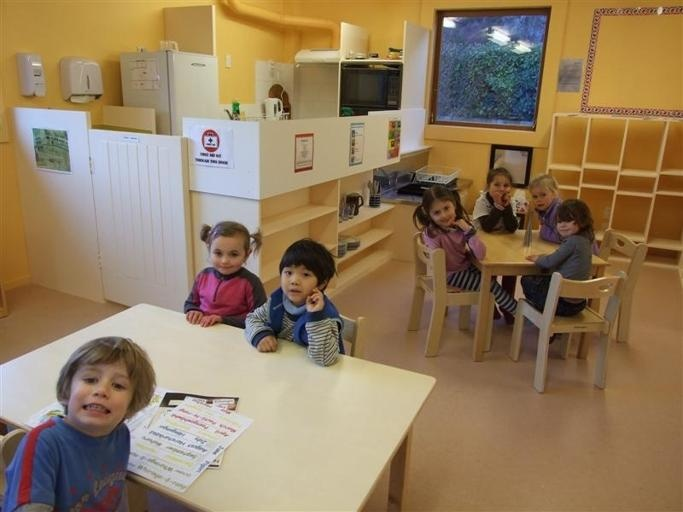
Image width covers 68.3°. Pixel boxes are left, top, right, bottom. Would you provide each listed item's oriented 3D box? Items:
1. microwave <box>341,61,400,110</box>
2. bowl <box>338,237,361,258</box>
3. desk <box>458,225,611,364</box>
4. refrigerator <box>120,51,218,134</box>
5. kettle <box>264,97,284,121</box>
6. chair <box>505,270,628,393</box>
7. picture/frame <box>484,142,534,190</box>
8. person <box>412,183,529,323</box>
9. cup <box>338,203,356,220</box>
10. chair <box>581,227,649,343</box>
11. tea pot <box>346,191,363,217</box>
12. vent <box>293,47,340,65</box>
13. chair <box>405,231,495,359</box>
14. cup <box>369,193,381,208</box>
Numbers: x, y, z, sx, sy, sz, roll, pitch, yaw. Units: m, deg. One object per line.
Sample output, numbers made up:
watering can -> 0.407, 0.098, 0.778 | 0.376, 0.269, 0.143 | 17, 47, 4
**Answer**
microwave -> 0.355, -1.931, 5.725 | 0.552, 0.578, 0.318 | 4, 7, 19
bowl -> 0.069, -0.084, 4.572 | 0.158, 0.068, 0.180 | -5, 9, -15
desk -> 1.509, 0.257, 3.641 | 0.739, 0.658, 0.766 | 10, 6, 7
refrigerator -> -1.518, -1.549, 4.890 | 0.532, 0.669, 0.720 | -3, 8, 23
kettle -> -0.764, -1.766, 6.044 | 0.201, 0.337, 0.331 | 4, 12, 21
chair -> 1.448, 0.414, 3.183 | 0.518, 0.765, 0.443 | 1, 22, -7
picture/frame -> 2.018, -1.116, 6.174 | 0.605, 0.664, 0.032 | 10, 56, 20
person -> 0.910, 0.013, 3.509 | 0.564, 1.086, 0.376 | -17, 3, 20
cup -> 0.049, -0.416, 4.639 | 0.128, 0.138, 0.135 | -1, 12, 0
chair -> 1.857, 0.201, 3.661 | 0.425, 0.689, 0.424 | -9, 17, -17
tea pot -> 0.132, -0.500, 4.818 | 0.141, 0.253, 0.240 | 11, 24, 26
vent -> -0.280, -2.423, 6.152 | 0.206, 0.193, 0.770 | -16, 30, -40
chair -> 0.783, 0.281, 3.529 | 0.520, 0.800, 0.545 | -8, 24, -10
cup -> 0.354, -0.583, 5.198 | 0.113, 0.128, 0.119 | 1, 29, -1
